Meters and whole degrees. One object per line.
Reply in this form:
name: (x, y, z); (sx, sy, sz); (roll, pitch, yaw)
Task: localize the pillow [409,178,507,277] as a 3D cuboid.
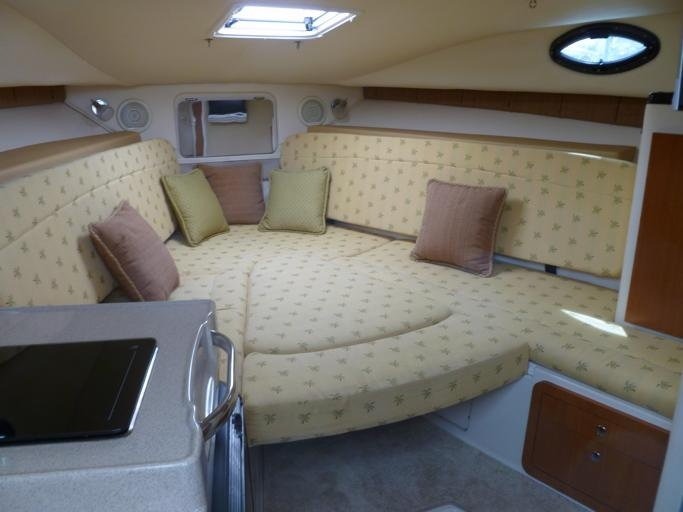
pillow: (0.689, -0.154, 2.717); (0.452, 0.411, 0.238); (17, 31, 33)

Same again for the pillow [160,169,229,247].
pillow: (-1.027, -0.351, 3.333); (0.144, 0.557, 0.565); (-13, -6, 14)

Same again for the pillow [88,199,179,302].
pillow: (-0.992, 0.002, 2.372); (0.298, 0.495, 0.531); (-6, 19, -11)
